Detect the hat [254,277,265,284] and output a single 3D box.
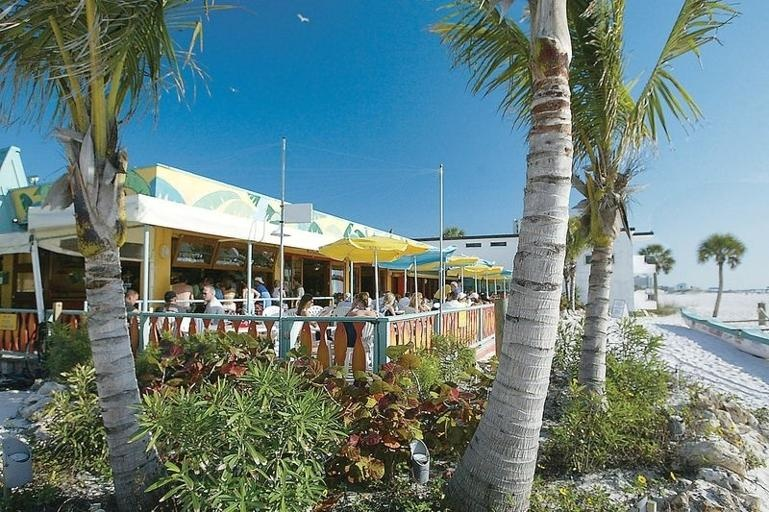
[{"bbox_3d":[-3.263,0.630,15.075,0.224,0.117,0.345,10,-1,2],"label":"hat"}]
